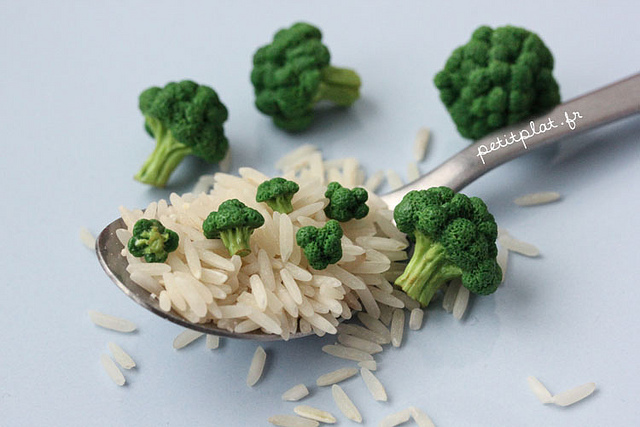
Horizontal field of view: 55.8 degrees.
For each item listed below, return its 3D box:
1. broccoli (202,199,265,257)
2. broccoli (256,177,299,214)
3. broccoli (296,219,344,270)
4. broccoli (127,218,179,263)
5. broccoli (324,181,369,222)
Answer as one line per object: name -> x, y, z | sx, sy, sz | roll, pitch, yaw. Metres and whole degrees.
broccoli -> -0.431, 0.070, 3.039 | 0.266, 0.274, 0.282 | -20, -8, 34
broccoli -> -0.221, -0.102, 3.156 | 0.166, 0.173, 0.199 | -16, -3, -3
broccoli -> 0.005, 0.130, 3.144 | 0.317, 0.134, 0.368 | -2, 31, 0
broccoli -> -0.835, 0.137, 3.017 | 0.220, 0.215, 0.075 | -55, 12, -8
broccoli -> 0.136, -0.043, 3.214 | 0.227, 0.204, 0.140 | 2, 30, 17
